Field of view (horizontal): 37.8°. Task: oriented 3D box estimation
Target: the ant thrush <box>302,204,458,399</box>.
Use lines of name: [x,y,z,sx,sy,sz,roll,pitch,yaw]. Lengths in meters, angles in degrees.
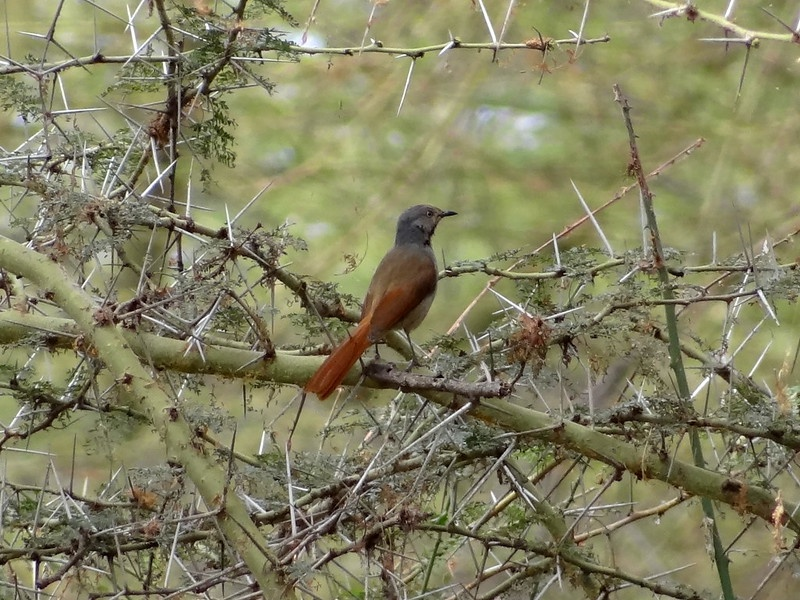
ant thrush: [-0.128,-0.031,6.971,0.437,1.736,0.929,6,-74,24]
